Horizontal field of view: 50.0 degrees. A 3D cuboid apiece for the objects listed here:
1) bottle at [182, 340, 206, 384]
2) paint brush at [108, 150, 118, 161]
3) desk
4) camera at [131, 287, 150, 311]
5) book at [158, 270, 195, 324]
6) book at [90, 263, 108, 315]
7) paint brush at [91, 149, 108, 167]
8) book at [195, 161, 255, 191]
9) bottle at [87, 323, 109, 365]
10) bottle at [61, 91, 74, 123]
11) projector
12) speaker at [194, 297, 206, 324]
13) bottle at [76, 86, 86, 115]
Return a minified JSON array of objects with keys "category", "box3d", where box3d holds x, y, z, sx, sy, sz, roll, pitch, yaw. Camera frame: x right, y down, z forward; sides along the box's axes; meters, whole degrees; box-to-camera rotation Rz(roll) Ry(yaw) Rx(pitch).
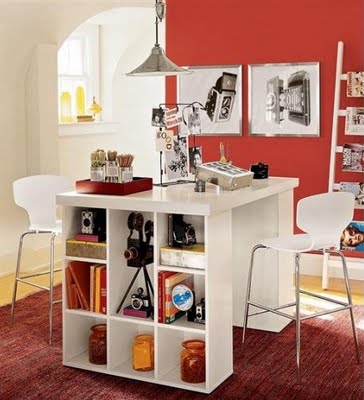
[{"category":"bottle","box3d":[0.059,0.723,1.791,0.120,0.163,0.130,0,4,0]},{"category":"paint brush","box3d":[-0.349,-0.223,1.985,0.047,0.067,0.052,1,0,18]},{"category":"desk","box3d":[0.082,0.334,2.300,0.843,0.879,1.287,3,7,32]},{"category":"camera","box3d":[-0.211,0.472,1.923,0.104,0.121,0.080,0,1,18]},{"category":"book","box3d":[-0.033,0.438,1.757,0.073,0.239,0.225,1,2,22]},{"category":"book","box3d":[-0.415,0.432,1.944,0.084,0.239,0.192,-3,9,-17]},{"category":"paint brush","box3d":[-0.425,-0.208,2.006,0.072,0.076,0.058,-3,8,-11]},{"category":"book","box3d":[0.217,-0.139,2.120,0.188,0.087,0.199,14,16,37]},{"category":"bottle","box3d":[-0.417,0.742,2.052,0.106,0.184,0.161,0,4,-3]},{"category":"bottle","box3d":[-1.339,-1.075,4.538,0.129,0.338,0.076,-5,8,-26]},{"category":"projector","box3d":[-0.208,0.300,1.948,0.195,0.500,0.284,1,8,14]},{"category":"speaker","box3d":[0.083,0.500,1.792,0.046,0.101,0.093,0,7,12]},{"category":"bottle","box3d":[-1.223,-1.194,4.732,0.107,0.352,0.193,-3,8,-15]}]
